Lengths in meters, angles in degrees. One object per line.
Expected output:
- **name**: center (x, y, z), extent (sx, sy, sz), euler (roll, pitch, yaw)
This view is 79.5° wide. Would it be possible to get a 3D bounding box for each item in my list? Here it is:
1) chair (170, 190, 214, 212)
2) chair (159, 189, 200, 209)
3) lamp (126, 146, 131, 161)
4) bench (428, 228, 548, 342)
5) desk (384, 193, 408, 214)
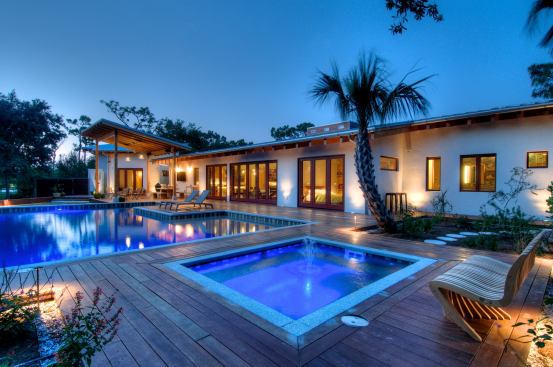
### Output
- **chair**: center (-3.740, 0.801, 14.890), extent (1.736, 0.717, 0.989), euler (2, -1, -37)
- **chair**: center (-4.381, 0.823, 15.165), extent (1.240, 0.579, 1.314), euler (0, -1, 41)
- **lamp**: center (-10.265, -1.977, 22.967), extent (0.282, 0.947, 0.325), euler (-4, 1, -25)
- **bench**: center (3.365, 0.905, 5.454), extent (1.527, 1.613, 2.853), euler (3, 4, 41)
- **desk**: center (4.703, 0.757, 13.006), extent (0.786, 0.674, 1.810), euler (-3, 0, 22)
